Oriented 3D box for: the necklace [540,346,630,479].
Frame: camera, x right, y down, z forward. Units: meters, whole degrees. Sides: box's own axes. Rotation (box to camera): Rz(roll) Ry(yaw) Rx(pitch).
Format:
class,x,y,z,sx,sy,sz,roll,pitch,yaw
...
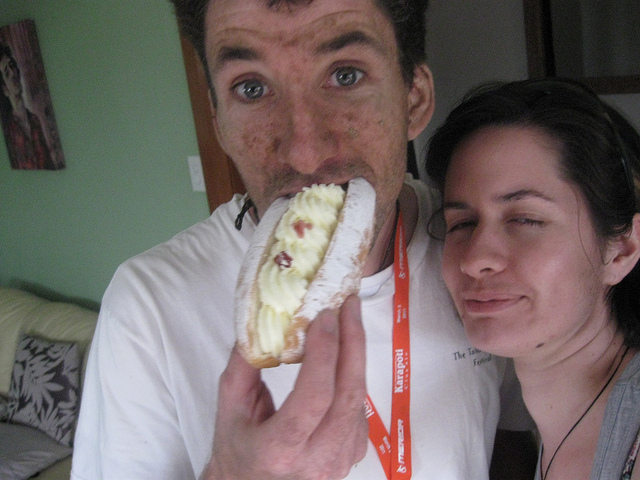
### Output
class,x,y,z,sx,sy,sz,roll,pitch,yaw
necklace,0.872,0.557,1.901,0.068,0.510,0.064,36,-23,-28
